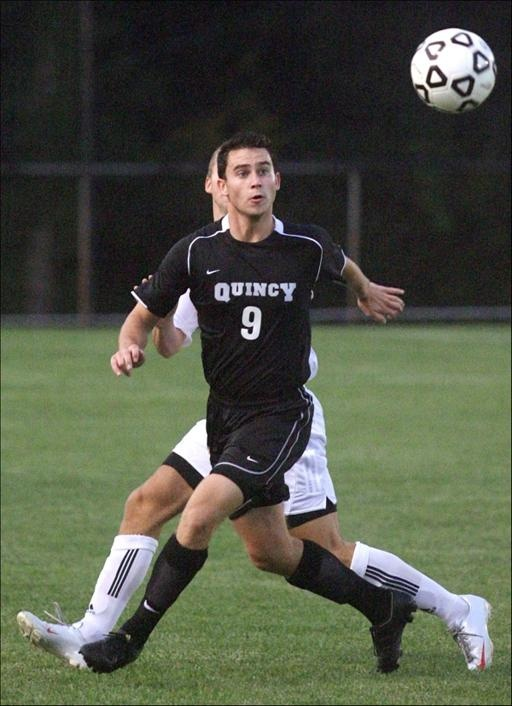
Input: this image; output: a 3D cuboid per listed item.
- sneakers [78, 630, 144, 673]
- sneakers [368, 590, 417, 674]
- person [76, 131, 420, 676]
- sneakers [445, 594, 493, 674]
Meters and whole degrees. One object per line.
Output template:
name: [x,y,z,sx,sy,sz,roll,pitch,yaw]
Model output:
sneakers: [-0.441,0.914,3.056,0.084,0.086,0.188,-33,-7,21]
sneakers: [0.435,0.903,3.271,0.165,0.299,0.110,-5,9,-22]
person: [-0.061,0.295,3.113,1.034,1.506,0.462,-3,9,-25]
sneakers: [0.721,0.922,3.250,0.144,0.263,0.100,-2,-27,-11]
